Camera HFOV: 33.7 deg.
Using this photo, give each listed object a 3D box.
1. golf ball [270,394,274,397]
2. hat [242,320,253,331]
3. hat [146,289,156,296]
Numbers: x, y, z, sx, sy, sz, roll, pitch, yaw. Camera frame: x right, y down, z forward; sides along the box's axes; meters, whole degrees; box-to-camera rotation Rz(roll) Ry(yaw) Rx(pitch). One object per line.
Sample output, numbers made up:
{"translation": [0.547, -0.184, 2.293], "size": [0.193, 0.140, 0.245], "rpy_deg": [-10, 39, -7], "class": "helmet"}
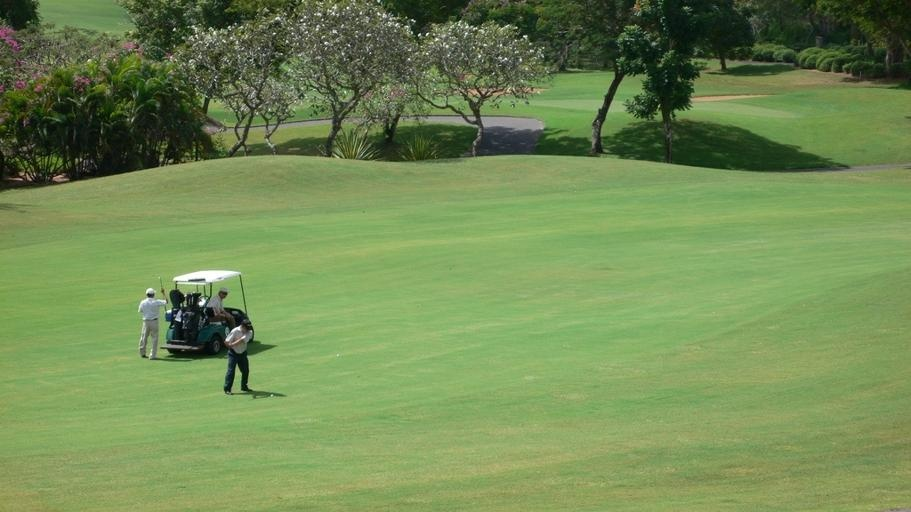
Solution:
{"translation": [-10.963, 8.175, 88.629], "size": [0.260, 0.120, 0.194], "rpy_deg": [11, 15, 43], "class": "golf ball"}
{"translation": [-12.444, 4.079, 89.183], "size": [0.705, 0.594, 0.793], "rpy_deg": [-4, 5, -36], "class": "hat"}
{"translation": [-18.733, 2.197, 91.595], "size": [0.552, 0.263, 0.580], "rpy_deg": [2, 12, -9], "class": "hat"}
